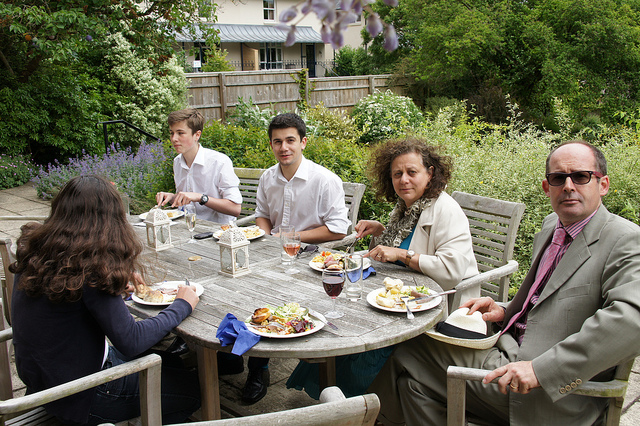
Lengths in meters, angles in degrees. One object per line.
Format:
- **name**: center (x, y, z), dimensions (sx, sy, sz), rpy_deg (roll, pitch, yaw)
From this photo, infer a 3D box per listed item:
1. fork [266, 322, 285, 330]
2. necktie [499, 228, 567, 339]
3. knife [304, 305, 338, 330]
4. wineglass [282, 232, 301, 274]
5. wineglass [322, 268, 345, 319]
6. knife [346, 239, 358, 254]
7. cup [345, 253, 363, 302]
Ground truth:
- **fork**: center (-0.218, 0.556, 2.131), dimensions (0.091, 0.022, 0.036), rpy_deg (4, 14, 12)
- **necktie**: center (1.188, 0.396, 2.394), dimensions (0.300, 0.649, 0.104), rpy_deg (-3, 16, -15)
- **knife**: center (0.007, 0.541, 2.235), dimensions (0.053, 0.012, 0.258), rpy_deg (-10, 17, -24)
- **wineglass**: center (-0.187, 0.245, 2.823), dimensions (0.121, 0.272, 0.178), rpy_deg (-1, 15, -9)
- **wineglass**: center (0.075, 0.419, 2.296), dimensions (0.123, 0.238, 0.191), rpy_deg (2, 14, 2)
- **knife**: center (0.267, 0.276, 3.636), dimensions (0.028, 0.199, 0.024), rpy_deg (27, 27, -26)
- **cup**: center (0.195, 0.355, 2.438), dimensions (0.103, 0.284, 0.232), rpy_deg (3, 15, 6)
